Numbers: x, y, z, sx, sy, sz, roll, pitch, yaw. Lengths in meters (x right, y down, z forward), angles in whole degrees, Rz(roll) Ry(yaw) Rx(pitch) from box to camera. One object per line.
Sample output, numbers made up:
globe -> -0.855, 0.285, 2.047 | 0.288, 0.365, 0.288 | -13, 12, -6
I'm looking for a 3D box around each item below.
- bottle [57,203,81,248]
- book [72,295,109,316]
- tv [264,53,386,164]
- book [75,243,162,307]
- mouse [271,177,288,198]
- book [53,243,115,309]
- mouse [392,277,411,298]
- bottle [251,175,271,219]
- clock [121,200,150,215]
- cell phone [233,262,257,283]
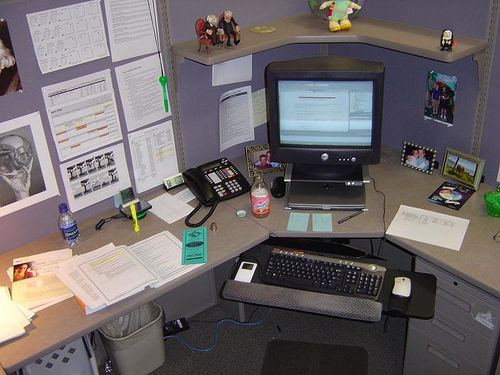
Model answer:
bottle -> -0.859, 0.156, 1.806 | 0.085, 0.201, 0.165 | -16, 30, -25
book -> -0.650, 0.475, 1.522 | 0.087, 0.025, 0.083 | 24, 35, 27
tv -> 0.391, -0.461, 2.001 | 0.577, 0.552, 0.357 | 2, 45, 9
book -> -0.566, 0.363, 1.673 | 0.338, 0.039, 0.288 | 28, 29, 36
mouse -> 0.152, -0.009, 2.038 | 0.064, 0.026, 0.110 | -1, 48, 0
book -> -0.713, 0.374, 1.604 | 0.194, 0.051, 0.209 | 33, 47, 30
mouse -> 0.627, 0.416, 1.588 | 0.064, 0.046, 0.085 | 11, 30, 24
bottle -> 0.052, 0.037, 1.877 | 0.087, 0.210, 0.102 | -1, 27, 2
clock -> -0.582, 0.102, 1.945 | 0.132, 0.014, 0.077 | -19, 26, -25
cell phone -> -0.019, 0.387, 1.740 | 0.092, 0.018, 0.175 | 5, 32, 13
